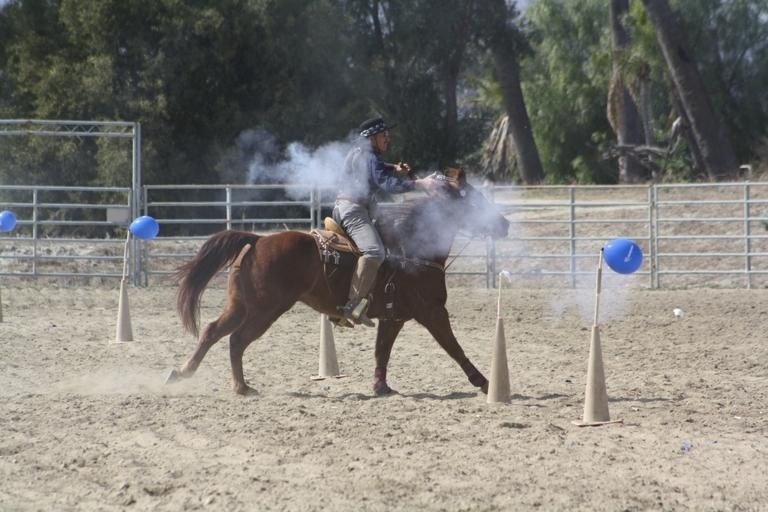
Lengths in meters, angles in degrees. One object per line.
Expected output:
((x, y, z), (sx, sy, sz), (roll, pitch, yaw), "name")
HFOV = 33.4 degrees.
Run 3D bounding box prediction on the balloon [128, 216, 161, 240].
((-6.313, -0.760, 34.134), (0.652, 0.475, 0.691), (3, 3, 1), "balloon")
